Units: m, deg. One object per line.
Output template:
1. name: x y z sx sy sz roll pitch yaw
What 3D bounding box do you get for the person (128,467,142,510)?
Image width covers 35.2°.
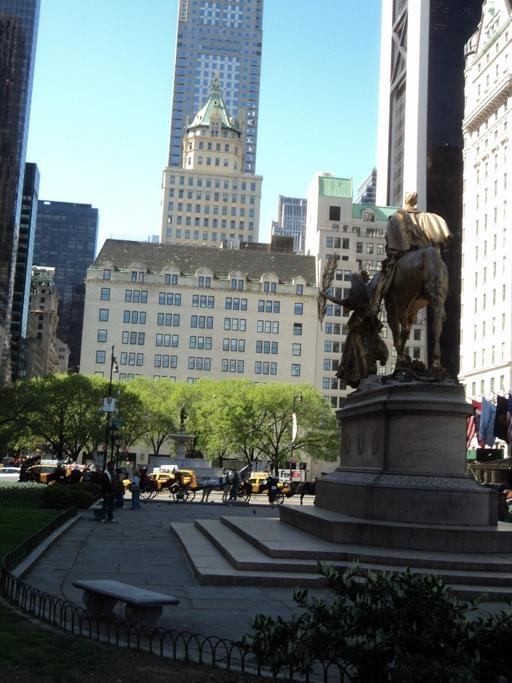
1. person: -4.492 5.541 29.984 0.406 1.388 1.447 -6 -5 -10
